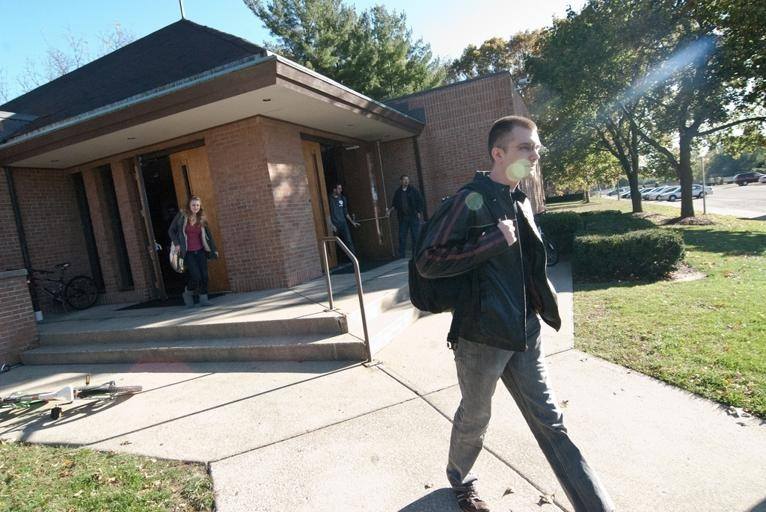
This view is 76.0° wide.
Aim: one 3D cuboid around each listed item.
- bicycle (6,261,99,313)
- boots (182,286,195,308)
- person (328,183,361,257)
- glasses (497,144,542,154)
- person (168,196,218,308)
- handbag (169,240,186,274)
[{"bbox_3d":[-8.604,0.903,12.747,1.958,1.334,0.889,-14,4,-20],"label":"bicycle"},{"bbox_3d":[-4.310,0.940,10.825,0.278,0.425,0.143,-19,4,21],"label":"boots"},{"bbox_3d":[-1.013,-0.846,13.037,0.807,2.412,0.658,-14,28,-15],"label":"person"},{"bbox_3d":[1.351,-1.086,4.900,0.246,0.069,0.184,5,9,30],"label":"glasses"},{"bbox_3d":[-4.089,-0.086,10.515,0.915,2.359,0.394,-8,6,-23],"label":"person"},{"bbox_3d":[-4.405,0.026,10.473,0.270,0.657,0.320,-7,6,-14],"label":"handbag"}]
